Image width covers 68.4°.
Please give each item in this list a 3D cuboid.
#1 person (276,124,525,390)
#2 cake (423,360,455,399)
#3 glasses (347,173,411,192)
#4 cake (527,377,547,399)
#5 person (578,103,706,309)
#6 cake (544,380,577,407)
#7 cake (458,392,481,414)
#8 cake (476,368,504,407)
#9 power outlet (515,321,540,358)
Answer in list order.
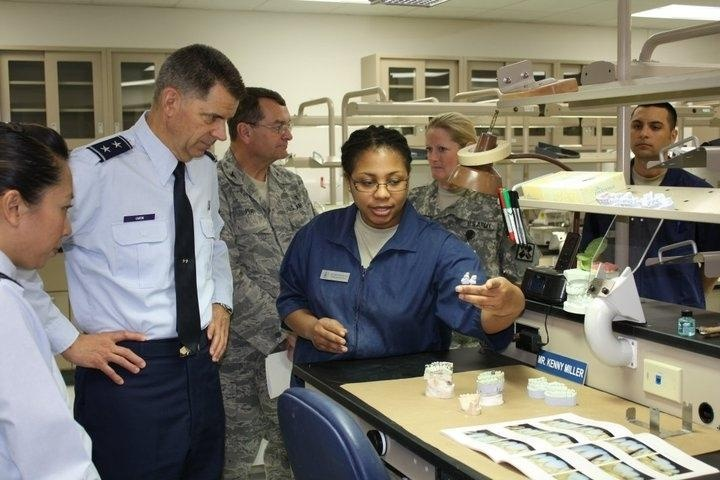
[{"bbox_3d":[0.112,0.031,2.295,0.991,1.216,0.977,1,28,-2],"label":"person"},{"bbox_3d":[0.268,0.487,1.841,0.106,0.116,0.111,-1,-4,2],"label":"cake"},{"bbox_3d":[0.066,-0.214,2.032,0.227,0.059,0.107,0,10,5],"label":"glasses"},{"bbox_3d":[0.615,0.512,1.845,0.064,0.052,0.062,0,-2,-26],"label":"cake"},{"bbox_3d":[1.550,-0.198,2.800,0.615,1.072,1.172,7,13,39],"label":"person"},{"bbox_3d":[0.672,0.507,1.779,0.079,0.030,0.077,-1,4,-6],"label":"cake"},{"bbox_3d":[0.361,0.534,1.731,0.065,0.054,0.058,-2,4,-32],"label":"cake"},{"bbox_3d":[0.443,0.511,1.838,0.112,0.101,0.097,1,1,-5],"label":"cake"},{"bbox_3d":[0.657,0.399,2.102,0.104,0.082,0.101,-2,7,-25],"label":"power outlet"}]
